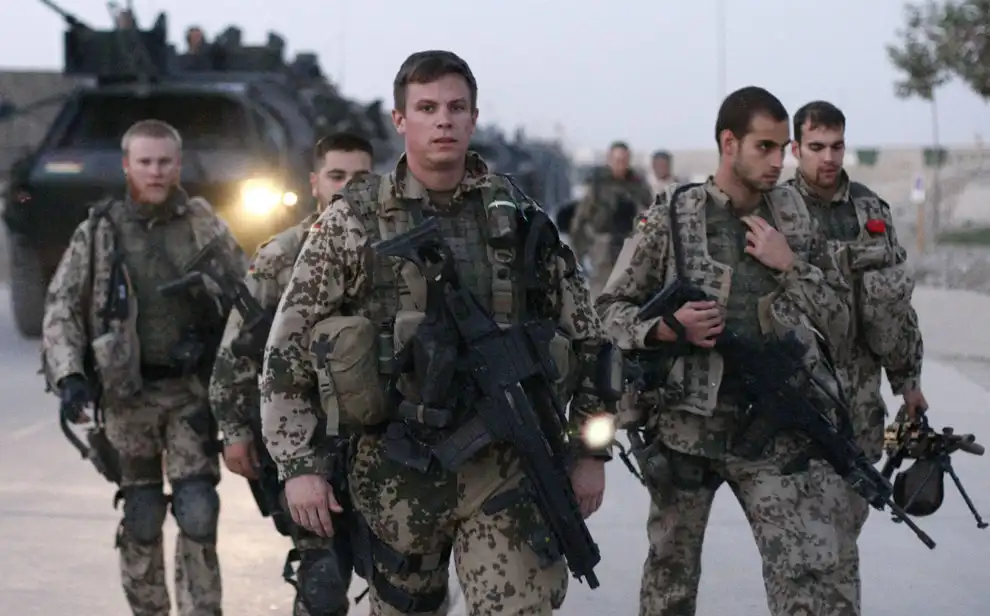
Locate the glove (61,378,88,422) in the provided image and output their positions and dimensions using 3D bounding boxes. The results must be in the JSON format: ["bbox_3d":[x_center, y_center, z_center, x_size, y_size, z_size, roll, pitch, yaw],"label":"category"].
[{"bbox_3d":[-2.580,0.543,8.471,0.160,0.274,0.103,-3,1,-41],"label":"glove"}]

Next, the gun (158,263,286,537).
[{"bbox_3d":[-1.701,0.486,8.501,0.367,1.660,0.665,-11,1,-1],"label":"gun"}]

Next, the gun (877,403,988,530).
[{"bbox_3d":[2.733,0.976,8.779,0.516,0.509,0.991,-13,-23,38],"label":"gun"}]
